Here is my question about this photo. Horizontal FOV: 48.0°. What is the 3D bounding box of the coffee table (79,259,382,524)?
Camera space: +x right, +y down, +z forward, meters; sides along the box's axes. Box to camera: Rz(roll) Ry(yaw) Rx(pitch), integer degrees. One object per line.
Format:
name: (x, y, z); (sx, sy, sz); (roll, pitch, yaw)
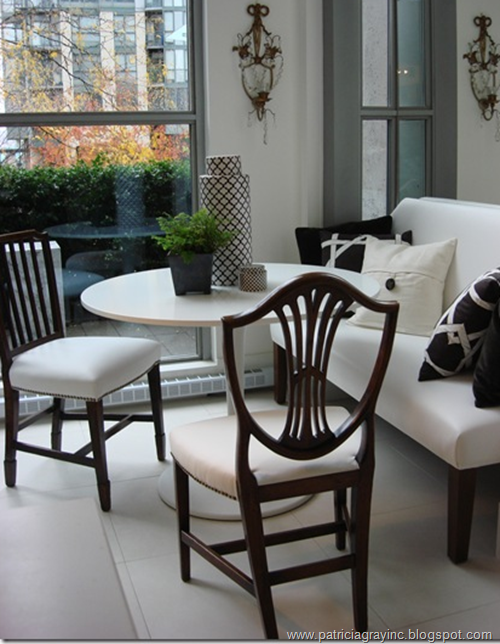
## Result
coffee table: (-0.178, 0.278, 2.086); (0.956, 0.679, 0.946); (-2, 10, -3)

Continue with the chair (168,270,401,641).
chair: (0.059, 0.319, 1.352); (0.554, 0.934, 0.507); (-2, 15, 2)

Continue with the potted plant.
potted plant: (-0.208, -0.252, 2.039); (0.323, 0.334, 0.289); (-1, 6, -9)

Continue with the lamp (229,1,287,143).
lamp: (0.049, -1.281, 2.914); (0.280, 0.679, 0.105); (-5, 16, -8)
